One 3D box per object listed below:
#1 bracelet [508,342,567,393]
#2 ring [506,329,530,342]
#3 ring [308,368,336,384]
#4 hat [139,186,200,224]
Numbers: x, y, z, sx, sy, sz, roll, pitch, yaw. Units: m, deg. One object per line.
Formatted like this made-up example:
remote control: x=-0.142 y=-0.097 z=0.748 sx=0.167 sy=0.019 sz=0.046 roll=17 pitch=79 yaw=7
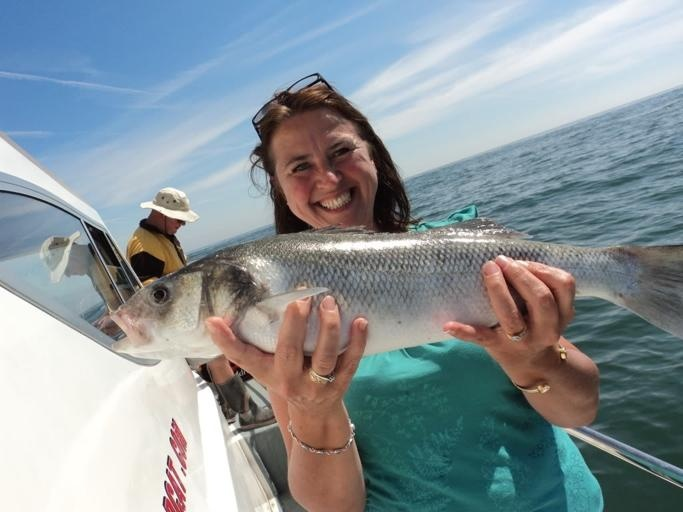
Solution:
bracelet: x=1.009 y=0.602 z=2.397 sx=0.304 sy=0.106 sz=0.224 roll=-20 pitch=39 yaw=34
ring: x=0.819 y=0.372 z=2.276 sx=0.075 sy=0.023 sz=0.070 roll=-4 pitch=4 yaw=0
ring: x=-0.087 y=0.544 z=2.188 sx=0.109 sy=0.030 sz=0.074 roll=0 pitch=-2 yaw=16
hat: x=-2.596 y=-0.842 z=7.327 sx=0.933 sy=0.348 sz=0.812 roll=13 pitch=22 yaw=-1
